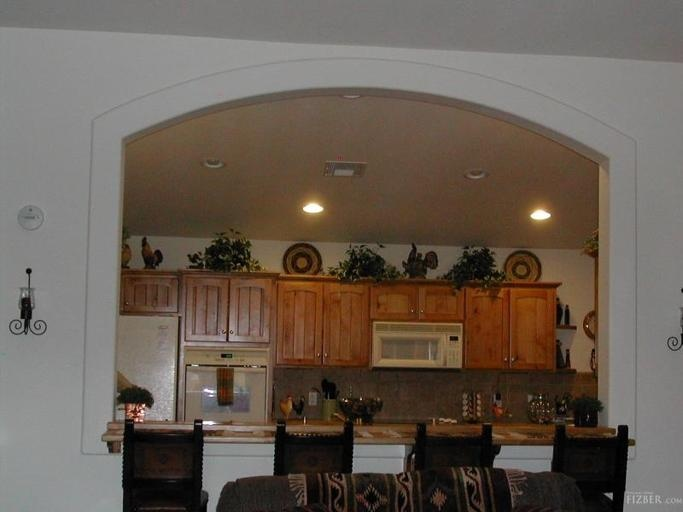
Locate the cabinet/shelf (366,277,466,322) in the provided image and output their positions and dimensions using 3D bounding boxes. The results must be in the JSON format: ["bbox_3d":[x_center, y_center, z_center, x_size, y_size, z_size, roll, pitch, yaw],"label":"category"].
[{"bbox_3d":[0.763,0.449,9.879,0.954,0.396,0.119,0,-9,-8],"label":"cabinet/shelf"}]

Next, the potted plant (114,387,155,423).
[{"bbox_3d":[-1.493,1.053,7.106,0.238,0.270,0.241,1,-1,10],"label":"potted plant"}]

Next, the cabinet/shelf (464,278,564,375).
[{"bbox_3d":[1.724,0.668,10.082,0.939,0.919,0.439,0,14,8],"label":"cabinet/shelf"}]

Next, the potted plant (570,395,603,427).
[{"bbox_3d":[1.775,1.125,7.099,0.207,0.236,0.189,0,-3,13],"label":"potted plant"}]

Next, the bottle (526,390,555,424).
[{"bbox_3d":[1.773,1.328,8.719,0.255,0.282,0.270,1,1,30],"label":"bottle"}]

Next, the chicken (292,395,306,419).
[{"bbox_3d":[-0.434,1.511,9.850,0.126,0.213,0.150,-1,-9,0],"label":"chicken"}]

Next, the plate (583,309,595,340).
[{"bbox_3d":[2.627,0.714,10.294,0.112,0.312,0.165,3,-10,-24],"label":"plate"}]

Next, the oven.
[{"bbox_3d":[-1.143,1.227,9.772,0.902,0.929,0.670,1,14,-12],"label":"oven"}]

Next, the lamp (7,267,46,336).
[{"bbox_3d":[-2.148,0.311,6.715,0.264,0.459,0.114,1,-9,-13],"label":"lamp"}]

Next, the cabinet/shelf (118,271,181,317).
[{"bbox_3d":[-1.849,0.352,9.536,0.624,0.550,0.378,1,0,-6],"label":"cabinet/shelf"}]

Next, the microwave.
[{"bbox_3d":[0.762,0.879,9.822,0.912,0.441,0.150,1,-9,-12],"label":"microwave"}]

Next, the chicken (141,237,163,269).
[{"bbox_3d":[-1.887,-0.038,9.791,0.223,0.355,0.344,1,-9,-12],"label":"chicken"}]

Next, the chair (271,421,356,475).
[{"bbox_3d":[-0.203,1.229,6.592,0.494,0.563,0.324,1,0,-3],"label":"chair"}]

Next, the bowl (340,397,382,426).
[{"bbox_3d":[0.170,1.406,9.149,0.286,0.188,0.303,1,-2,0],"label":"bowl"}]

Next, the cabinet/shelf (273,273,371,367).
[{"bbox_3d":[-0.230,0.663,9.774,0.793,0.801,0.325,2,-6,-8],"label":"cabinet/shelf"}]

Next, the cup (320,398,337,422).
[{"bbox_3d":[-0.140,1.548,9.834,0.169,0.216,0.178,1,-2,0],"label":"cup"}]
